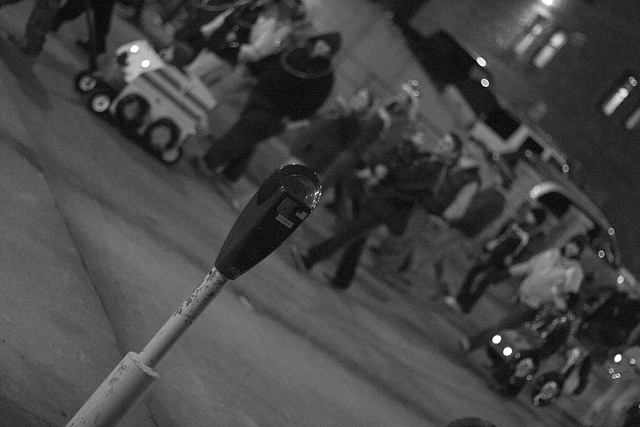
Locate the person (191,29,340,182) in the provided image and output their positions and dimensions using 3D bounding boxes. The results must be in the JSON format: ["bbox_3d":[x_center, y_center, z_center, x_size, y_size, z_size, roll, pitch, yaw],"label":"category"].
[{"bbox_3d":[-0.361,-0.653,4.593,0.583,0.766,0.206,44,1,4],"label":"person"}]

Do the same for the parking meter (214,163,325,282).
[{"bbox_3d":[-0.208,0.012,3.529,0.309,0.599,0.232,40,4,-14],"label":"parking meter"}]
